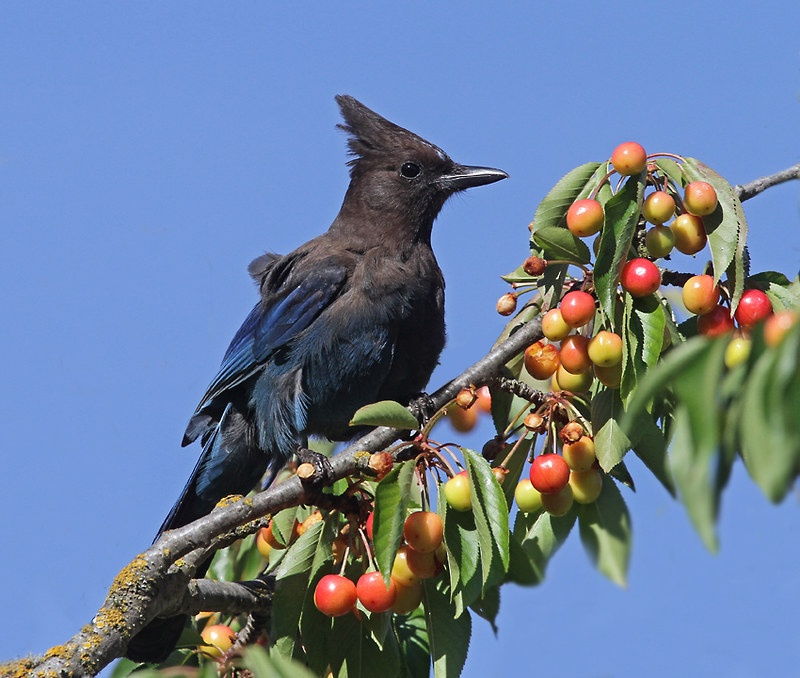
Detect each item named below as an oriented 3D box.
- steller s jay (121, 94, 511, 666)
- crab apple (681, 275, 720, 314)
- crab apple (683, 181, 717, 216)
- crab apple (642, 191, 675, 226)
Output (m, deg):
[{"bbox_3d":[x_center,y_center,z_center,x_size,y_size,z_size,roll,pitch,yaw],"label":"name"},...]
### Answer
[{"bbox_3d":[-0.276,0.517,5.154,2.009,2.020,0.691,-35,-43,23],"label":"steller s jay"},{"bbox_3d":[1.079,-0.165,4.531,0.128,0.136,0.149,-8,-52,17],"label":"crab apple"},{"bbox_3d":[1.083,-0.501,4.555,0.120,0.090,0.123,-16,-55,22],"label":"crab apple"},{"bbox_3d":[0.939,-0.481,4.576,0.123,0.135,0.120,-1,-49,10],"label":"crab apple"}]
